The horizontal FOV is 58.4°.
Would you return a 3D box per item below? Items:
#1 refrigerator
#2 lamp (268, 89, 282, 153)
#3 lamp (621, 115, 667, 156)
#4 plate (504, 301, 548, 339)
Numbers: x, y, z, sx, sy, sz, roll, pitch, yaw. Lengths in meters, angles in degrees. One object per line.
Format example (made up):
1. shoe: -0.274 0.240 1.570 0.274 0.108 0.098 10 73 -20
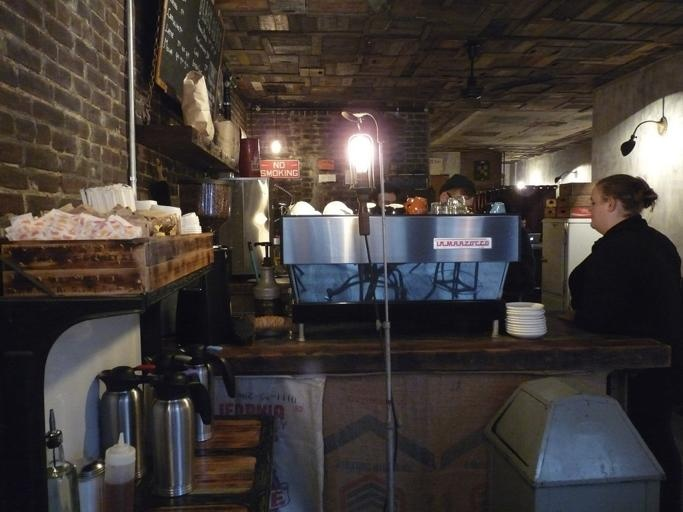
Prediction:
1. refrigerator: 2.193 0.015 6.197 0.682 1.137 0.840 1 7 -10
2. lamp: -0.785 -1.510 7.189 0.140 0.643 0.407 -2 3 -5
3. lamp: 2.889 -1.160 5.874 0.455 0.390 0.152 -1 -1 38
4. plate: 0.902 0.319 3.041 0.171 0.124 0.172 0 -1 1
